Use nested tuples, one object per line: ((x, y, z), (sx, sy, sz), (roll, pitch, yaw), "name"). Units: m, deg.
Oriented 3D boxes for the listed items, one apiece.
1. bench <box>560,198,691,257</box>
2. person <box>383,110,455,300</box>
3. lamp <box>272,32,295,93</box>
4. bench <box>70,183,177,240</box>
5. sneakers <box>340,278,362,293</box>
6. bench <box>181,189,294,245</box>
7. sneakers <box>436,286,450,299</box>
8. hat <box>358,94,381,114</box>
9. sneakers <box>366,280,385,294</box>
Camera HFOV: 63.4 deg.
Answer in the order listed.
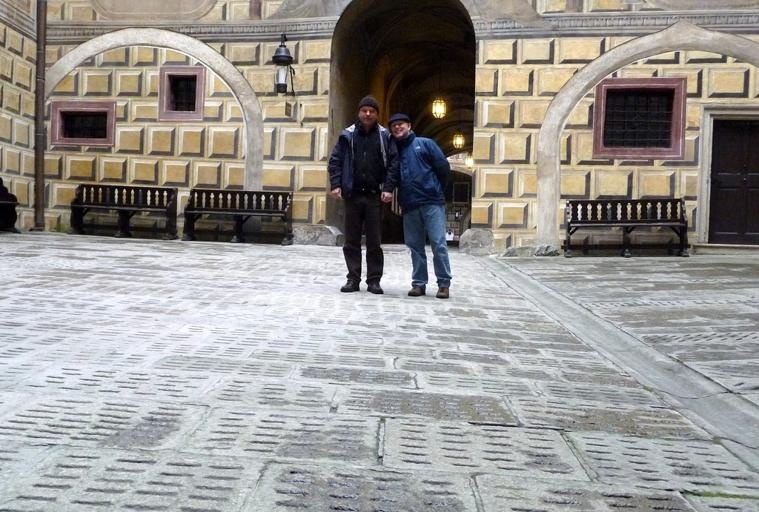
((4.956, -0.605, 12.466), (2.337, 1.197, 0.763), (4, 8, 11), "bench")
((0.451, -0.593, 7.056), (0.860, 2.052, 0.780), (4, 8, 5), "person")
((-2.144, -4.323, 13.840), (0.504, 1.383, 0.592), (2, 8, -8), "lamp")
((-5.795, -1.049, 14.157), (2.535, 1.163, 0.830), (5, 8, 17), "bench")
((-0.330, 0.341, 6.997), (0.107, 0.099, 0.270), (1, -6, 23), "sneakers")
((-3.171, -0.911, 13.786), (2.447, 1.152, 0.912), (3, 8, 7), "bench")
((0.716, 0.423, 6.902), (0.078, 0.131, 0.203), (-1, -16, 10), "sneakers")
((-0.129, -1.722, 6.957), (0.195, 0.168, 0.209), (2, 8, -9), "hat")
((-0.034, 0.348, 6.927), (0.182, 0.131, 0.215), (2, 8, -9), "sneakers")
